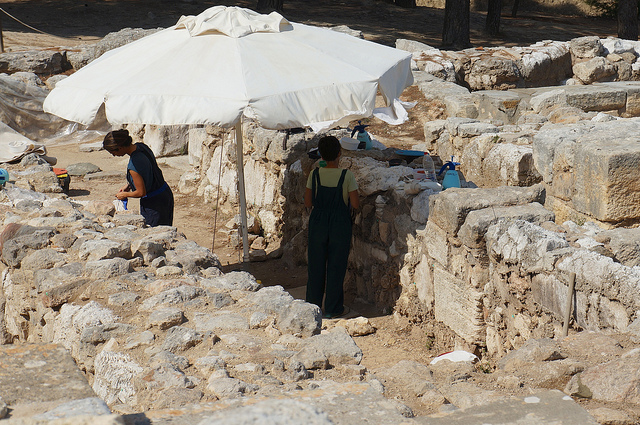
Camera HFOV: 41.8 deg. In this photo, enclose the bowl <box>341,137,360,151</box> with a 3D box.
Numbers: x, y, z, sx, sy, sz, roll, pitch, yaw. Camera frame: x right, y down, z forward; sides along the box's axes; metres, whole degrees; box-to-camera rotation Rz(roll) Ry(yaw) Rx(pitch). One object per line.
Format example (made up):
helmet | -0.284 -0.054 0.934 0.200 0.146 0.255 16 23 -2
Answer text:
bowl | 0.405 -0.915 11.275 0.227 0.157 0.182 0 13 3
